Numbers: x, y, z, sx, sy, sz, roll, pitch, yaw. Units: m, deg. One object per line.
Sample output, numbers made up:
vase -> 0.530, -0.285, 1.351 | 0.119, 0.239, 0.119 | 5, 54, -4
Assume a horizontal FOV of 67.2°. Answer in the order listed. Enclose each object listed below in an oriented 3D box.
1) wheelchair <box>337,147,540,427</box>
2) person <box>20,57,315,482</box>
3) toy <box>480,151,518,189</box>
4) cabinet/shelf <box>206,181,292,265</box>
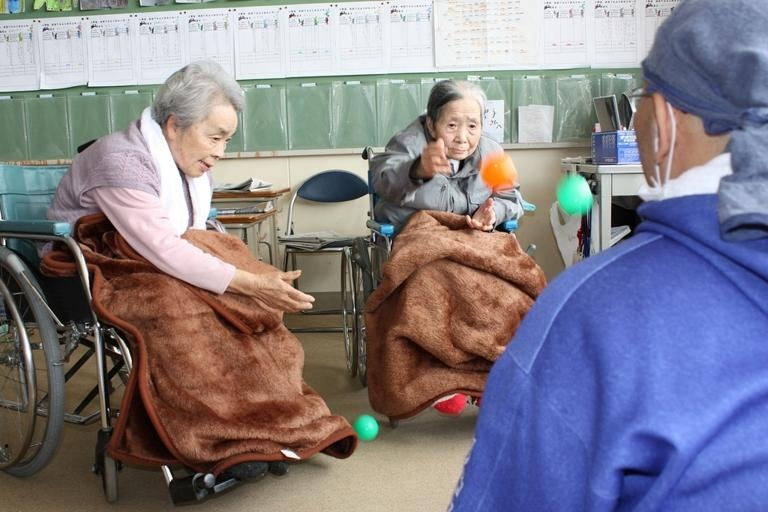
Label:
wheelchair -> 0.041, 0.104, 2.231 | 0.787, 0.498, 1.166 | -2, 28, -28
person -> -0.446, -0.049, 2.532 | 1.261, 1.764, 0.726 | 4, -6, 7
toy -> 0.458, -0.331, 2.304 | 0.112, 0.130, 0.161 | -4, -21, 5
cabinet/shelf -> -0.714, -0.175, 3.158 | 0.404, 0.581, 0.418 | -2, 3, -21
